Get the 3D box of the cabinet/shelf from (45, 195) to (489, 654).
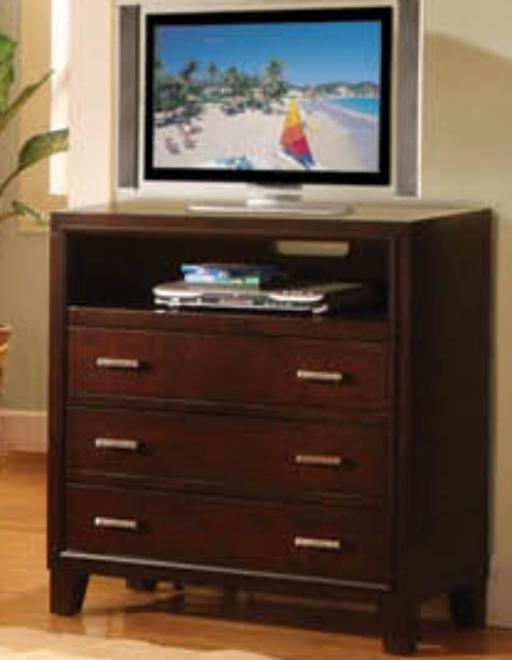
[{"bbox_3d":[0.025,0.186,1.180,0.888,0.792,0.435,1,3,19],"label":"cabinet/shelf"}]
